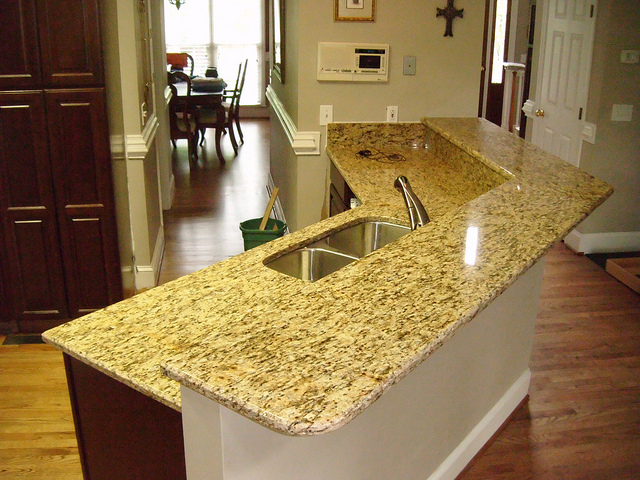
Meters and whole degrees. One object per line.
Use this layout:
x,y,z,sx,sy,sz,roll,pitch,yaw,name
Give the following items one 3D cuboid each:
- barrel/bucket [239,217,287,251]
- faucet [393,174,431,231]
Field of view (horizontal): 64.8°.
-0.425,-0.118,3.752,0.331,0.221,0.268,-1,24,1,barrel/bucket
0.399,-0.157,2.205,0.079,0.110,0.324,-1,35,-8,faucet
